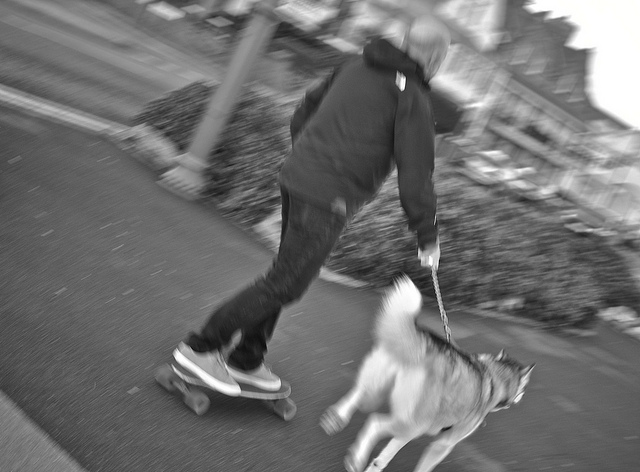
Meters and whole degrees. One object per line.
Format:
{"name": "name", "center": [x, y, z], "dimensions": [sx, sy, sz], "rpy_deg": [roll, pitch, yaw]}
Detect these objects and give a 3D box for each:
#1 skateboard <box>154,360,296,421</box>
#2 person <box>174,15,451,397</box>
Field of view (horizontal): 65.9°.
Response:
{"name": "skateboard", "center": [-0.589, 1.016, 3.169], "dimensions": [0.689, 0.171, 0.469], "rpy_deg": [9, 22, -30]}
{"name": "person", "center": [-0.019, -0.102, 2.782], "dimensions": [1.153, 2.059, 0.388], "rpy_deg": [44, 17, 8]}
